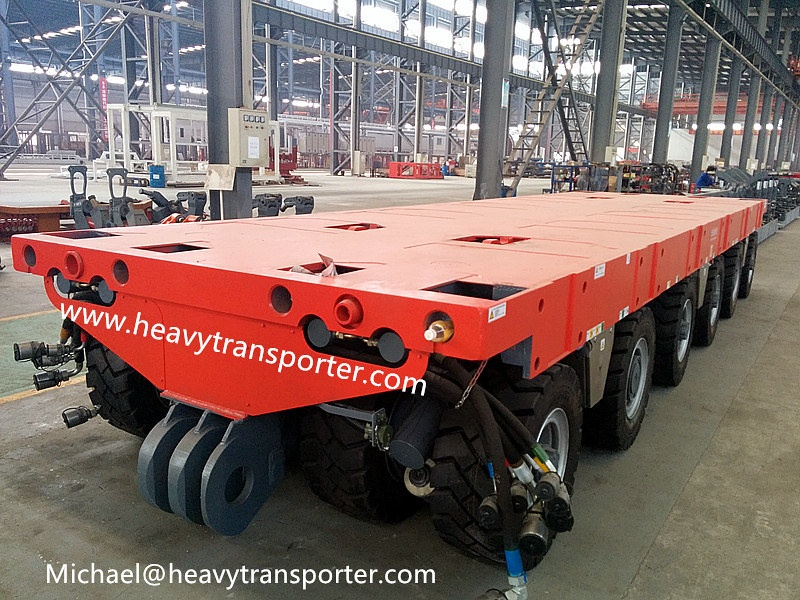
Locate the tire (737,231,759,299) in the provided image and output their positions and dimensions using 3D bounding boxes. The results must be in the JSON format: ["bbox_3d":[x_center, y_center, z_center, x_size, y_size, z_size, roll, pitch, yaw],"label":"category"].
[{"bbox_3d":[4.579,-0.455,7.540,0.186,0.854,0.778,14,14,25],"label":"tire"}]

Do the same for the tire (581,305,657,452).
[{"bbox_3d":[1.508,0.508,3.924,0.258,0.999,0.964,9,-12,34],"label":"tire"}]
